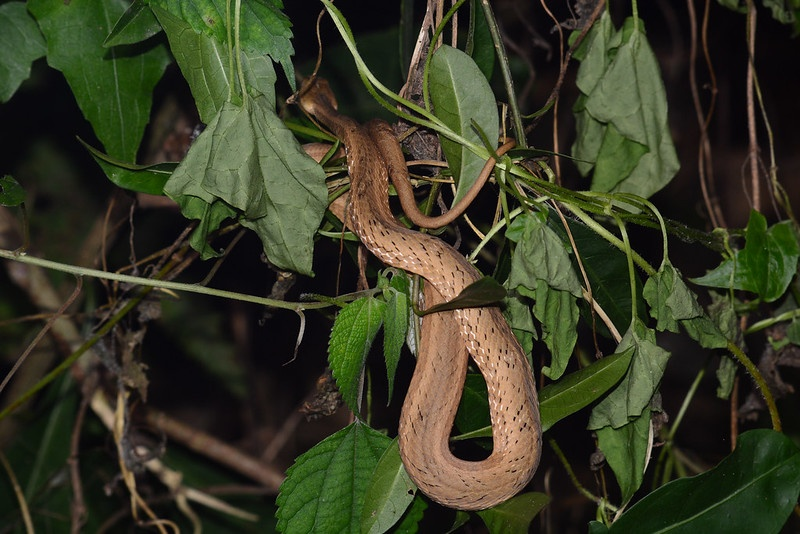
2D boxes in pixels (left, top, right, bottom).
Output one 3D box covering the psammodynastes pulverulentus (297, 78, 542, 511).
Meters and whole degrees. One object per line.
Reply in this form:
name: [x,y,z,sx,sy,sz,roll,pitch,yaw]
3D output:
psammodynastes pulverulentus: [0.064,0.028,2.131,0.386,1.103,0.184,-20,-10,16]
